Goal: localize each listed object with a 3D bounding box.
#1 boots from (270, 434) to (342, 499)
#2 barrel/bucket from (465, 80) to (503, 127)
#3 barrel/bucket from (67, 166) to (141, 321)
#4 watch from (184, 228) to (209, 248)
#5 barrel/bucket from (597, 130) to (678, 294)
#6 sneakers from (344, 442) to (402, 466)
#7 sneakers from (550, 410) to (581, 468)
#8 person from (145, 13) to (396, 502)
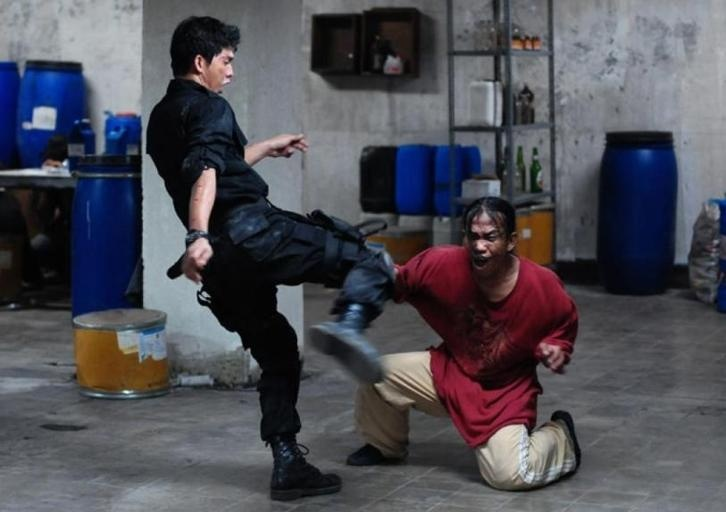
[{"bbox_3d":[-0.243,0.900,3.942,0.412,0.281,0.152,-2,2,-35],"label":"boots"},{"bbox_3d":[0.989,-1.192,7.555,0.351,0.362,0.646,2,-5,5],"label":"barrel/bucket"},{"bbox_3d":[-1.586,-0.066,5.662,0.450,0.882,0.196,0,10,5],"label":"barrel/bucket"},{"bbox_3d":[-0.613,-0.065,3.440,0.084,0.064,0.101,-2,11,-9],"label":"watch"},{"bbox_3d":[2.249,-0.332,7.434,0.600,1.306,0.273,2,11,13],"label":"barrel/bucket"},{"bbox_3d":[0.049,0.913,4.183,0.285,0.109,0.095,3,-1,-5],"label":"sneakers"},{"bbox_3d":[0.925,0.814,4.082,0.088,0.243,0.142,3,-27,1],"label":"sneakers"},{"bbox_3d":[-0.395,0.051,3.622,1.056,1.959,0.555,2,11,17],"label":"person"}]
